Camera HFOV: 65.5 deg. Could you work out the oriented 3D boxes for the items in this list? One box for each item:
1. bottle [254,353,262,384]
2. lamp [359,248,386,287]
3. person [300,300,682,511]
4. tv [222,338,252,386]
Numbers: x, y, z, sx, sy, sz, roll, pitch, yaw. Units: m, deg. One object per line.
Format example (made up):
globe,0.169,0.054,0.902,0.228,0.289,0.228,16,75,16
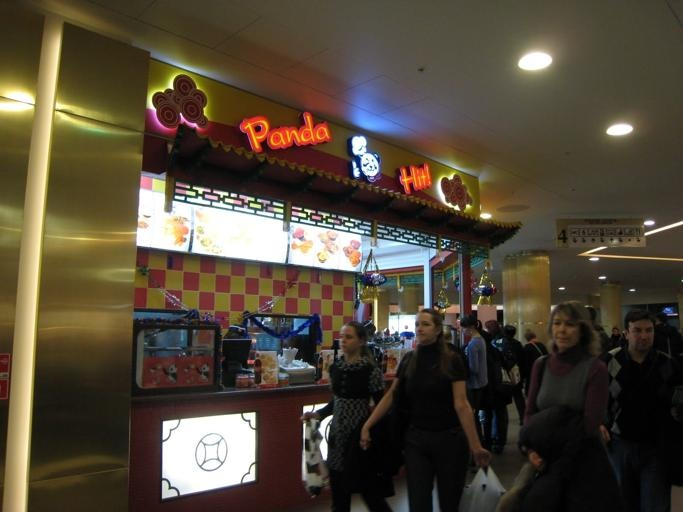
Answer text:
bottle,-0.810,1.090,5.143,0.072,0.301,0.042,1,-6,-8
lamp,0.448,0.089,7.964,0.380,0.432,0.393,-5,11,-26
person,1.040,1.093,3.834,1.740,1.505,0.626,-3,-7,34
tv,-1.040,1.067,5.240,0.325,0.458,0.231,6,-17,-32
